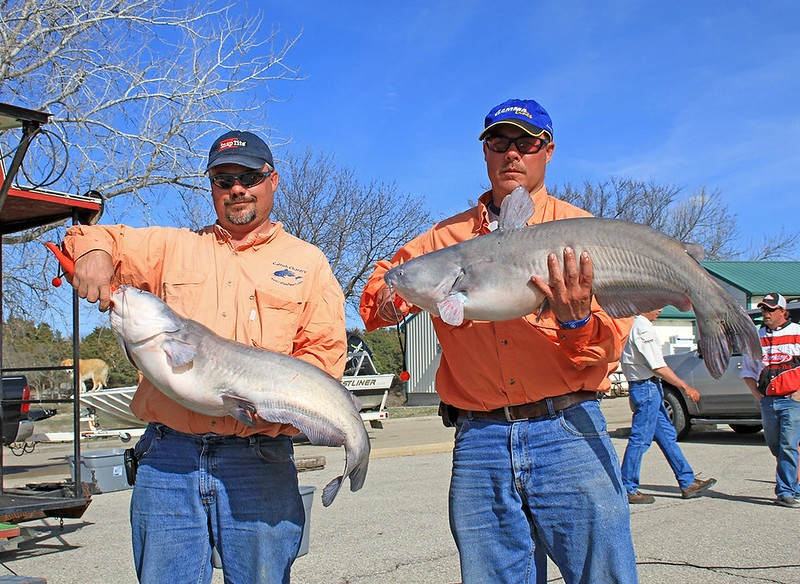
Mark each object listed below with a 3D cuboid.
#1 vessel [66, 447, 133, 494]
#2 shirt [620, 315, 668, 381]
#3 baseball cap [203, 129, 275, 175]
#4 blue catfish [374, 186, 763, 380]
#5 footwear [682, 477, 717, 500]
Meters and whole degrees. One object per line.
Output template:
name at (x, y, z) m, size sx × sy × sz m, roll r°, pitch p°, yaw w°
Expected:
vessel at (-4.608, 2.815, 9.222) m, size 0.639 × 0.552 × 0.916 m, roll -7°, pitch -12°, yaw 25°
shirt at (3.278, 0.818, 8.132) m, size 0.505 × 0.919 × 1.056 m, roll 2°, pitch -4°, yaw 2°
baseball cap at (-0.960, -0.825, 3.525) m, size 0.347 × 0.252 × 0.495 m, roll -6°, pitch 7°, yaw -3°
blue catfish at (0.816, -0.005, 2.951) m, size 1.868 × 0.898 × 0.316 m, roll -1°, pitch 10°, yaw 3°
footwear at (3.798, 2.510, 7.602) m, size 0.596 × 0.131 × 0.209 m, roll -2°, pitch -8°, yaw -29°
